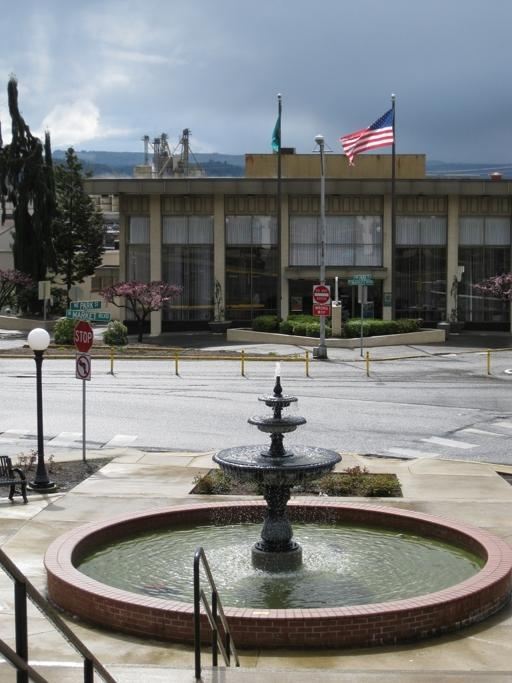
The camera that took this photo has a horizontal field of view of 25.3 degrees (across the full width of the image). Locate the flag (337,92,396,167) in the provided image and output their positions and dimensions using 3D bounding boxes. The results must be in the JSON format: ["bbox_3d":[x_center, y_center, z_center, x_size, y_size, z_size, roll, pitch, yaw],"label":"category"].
[{"bbox_3d":[3.945,-7.142,39.906,1.720,1.791,1.525,-1,3,4],"label":"flag"}]

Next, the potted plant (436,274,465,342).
[{"bbox_3d":[9.004,-1.763,52.644,0.906,2.890,1.349,-1,3,5],"label":"potted plant"}]

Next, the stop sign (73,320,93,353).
[{"bbox_3d":[-2.652,-0.051,17.400,0.250,0.494,0.612,-2,3,-6],"label":"stop sign"}]

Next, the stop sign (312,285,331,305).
[{"bbox_3d":[2.071,-1.429,36.285,0.487,0.616,0.709,-1,3,-3],"label":"stop sign"}]
